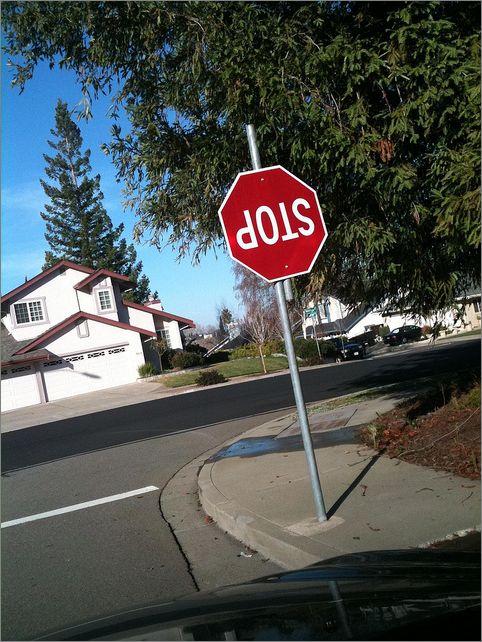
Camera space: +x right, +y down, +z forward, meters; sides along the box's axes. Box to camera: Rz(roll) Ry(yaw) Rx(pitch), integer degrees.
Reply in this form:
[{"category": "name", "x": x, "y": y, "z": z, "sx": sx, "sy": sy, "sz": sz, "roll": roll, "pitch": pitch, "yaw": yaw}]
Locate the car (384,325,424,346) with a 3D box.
[{"category": "car", "x": 15.922, "y": 1.279, "z": 44.883, "sx": 3.577, "sy": 1.891, "sz": 2.153, "roll": -10, "pitch": -5, "yaw": -27}]
